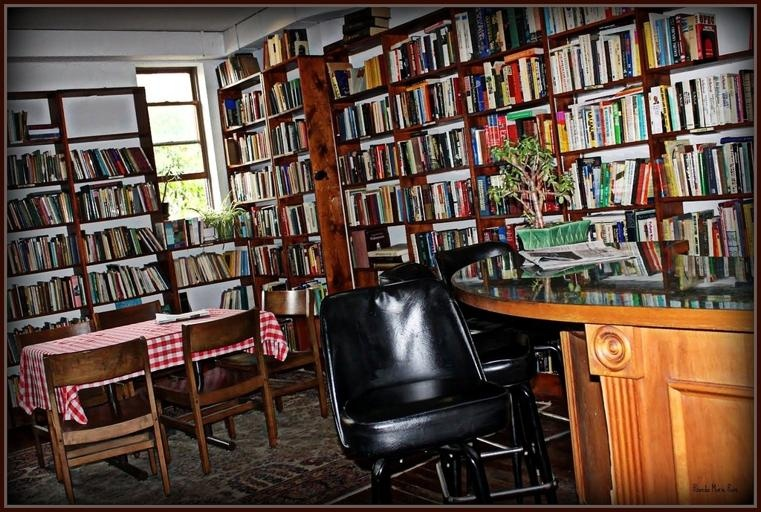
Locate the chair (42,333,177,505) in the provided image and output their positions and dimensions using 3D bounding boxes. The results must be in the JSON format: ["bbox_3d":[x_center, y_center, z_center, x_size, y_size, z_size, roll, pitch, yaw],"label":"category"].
[{"bbox_3d":[-1.872,1.061,3.705,0.671,0.832,0.781,-11,7,-30],"label":"chair"}]

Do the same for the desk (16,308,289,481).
[{"bbox_3d":[-1.669,0.733,4.264,1.665,0.316,0.967,-10,-2,-25],"label":"desk"}]

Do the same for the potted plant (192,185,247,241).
[{"bbox_3d":[-2.066,-0.546,7.118,0.712,0.436,0.667,0,5,-4],"label":"potted plant"}]

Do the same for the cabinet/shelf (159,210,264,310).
[{"bbox_3d":[-2.188,0.021,6.995,1.304,1.117,0.418,-10,12,-44],"label":"cabinet/shelf"}]
